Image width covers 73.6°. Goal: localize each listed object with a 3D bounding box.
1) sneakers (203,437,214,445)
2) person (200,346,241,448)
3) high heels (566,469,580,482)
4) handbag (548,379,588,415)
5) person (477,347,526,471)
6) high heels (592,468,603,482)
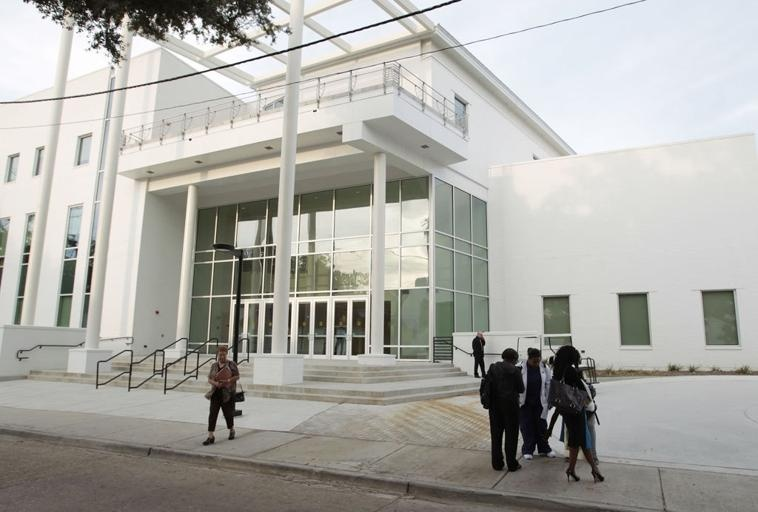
[{"bbox_3d":[-3.817,4.159,11.370,0.273,0.183,0.233,1,-5,-21],"label":"sneakers"},{"bbox_3d":[-3.712,3.235,11.980,0.717,2.122,1.216,1,-4,-15],"label":"person"},{"bbox_3d":[3.462,3.967,9.065,0.125,0.187,0.411,-11,-15,41],"label":"high heels"},{"bbox_3d":[3.393,2.537,9.051,0.655,0.595,0.271,16,-8,7],"label":"handbag"},{"bbox_3d":[2.410,2.999,9.872,0.805,2.259,0.584,-1,-4,12],"label":"person"},{"bbox_3d":[3.924,3.961,9.053,0.129,0.170,0.421,-12,-13,33],"label":"high heels"}]
